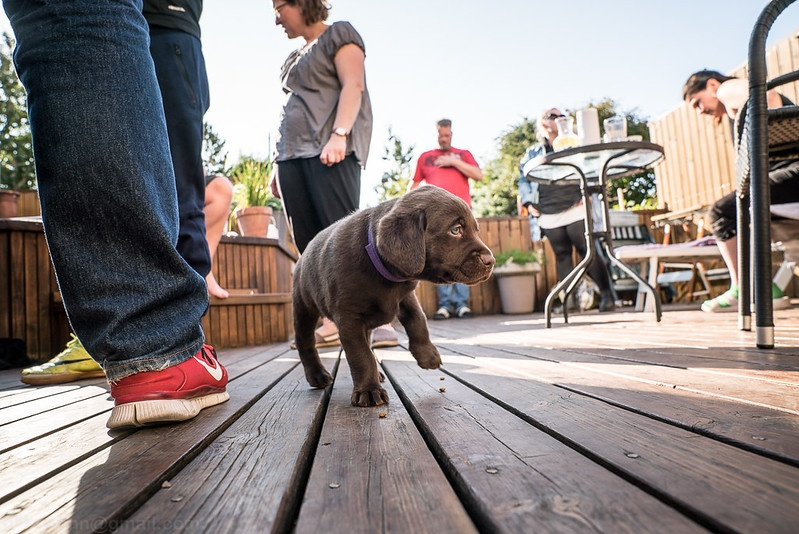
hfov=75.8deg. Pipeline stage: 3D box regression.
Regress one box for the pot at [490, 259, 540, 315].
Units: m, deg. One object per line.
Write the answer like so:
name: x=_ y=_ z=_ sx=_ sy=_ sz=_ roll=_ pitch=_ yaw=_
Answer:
pot: x=1.817 y=0.230 z=7.877 sx=0.789 sy=0.897 sz=0.838 roll=-4 pitch=15 yaw=1

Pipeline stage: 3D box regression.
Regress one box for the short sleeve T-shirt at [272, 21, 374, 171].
short sleeve T-shirt: x=-0.506 y=-1.058 z=3.176 sx=0.636 sy=0.853 sz=0.214 roll=-5 pitch=0 yaw=24

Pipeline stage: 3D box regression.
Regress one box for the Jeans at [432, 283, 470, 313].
Jeans: x=0.727 y=0.426 z=7.030 sx=0.531 sy=0.404 sz=1.197 roll=-2 pitch=3 yaw=6

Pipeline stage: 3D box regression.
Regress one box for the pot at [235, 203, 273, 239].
pot: x=-1.573 y=-0.486 z=5.485 sx=0.369 sy=0.297 sz=0.376 roll=-2 pitch=-5 yaw=0

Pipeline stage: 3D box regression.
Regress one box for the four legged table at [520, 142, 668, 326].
four legged table: x=1.634 y=-0.268 z=4.141 sx=1.027 sy=1.279 sz=1.026 roll=-3 pitch=2 yaw=-29

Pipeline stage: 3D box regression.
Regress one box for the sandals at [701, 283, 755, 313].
sandals: x=2.742 y=0.269 z=4.328 sx=0.560 sy=0.255 sz=0.214 roll=-8 pitch=-4 yaw=32

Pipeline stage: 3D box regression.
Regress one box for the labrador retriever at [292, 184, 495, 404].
labrador retriever: x=-0.091 y=0.097 z=2.214 sx=0.954 sy=0.883 sz=0.485 roll=-2 pitch=6 yaw=38

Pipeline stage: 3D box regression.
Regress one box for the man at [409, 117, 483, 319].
man: x=0.601 y=-0.650 z=6.476 sx=0.891 sy=2.541 sz=0.786 roll=-3 pitch=-11 yaw=0
